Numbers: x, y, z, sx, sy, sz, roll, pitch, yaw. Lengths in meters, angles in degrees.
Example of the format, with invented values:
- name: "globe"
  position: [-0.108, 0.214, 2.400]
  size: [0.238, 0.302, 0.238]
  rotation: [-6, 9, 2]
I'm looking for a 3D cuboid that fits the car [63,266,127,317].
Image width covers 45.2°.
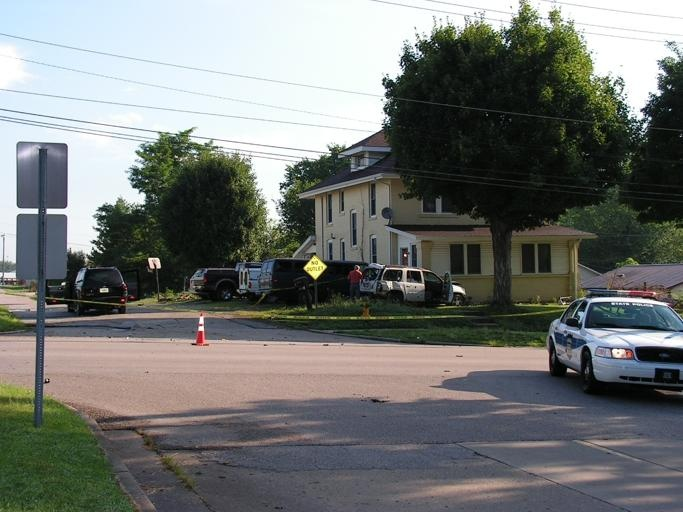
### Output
- name: "car"
  position: [-10.689, 1.450, 35.382]
  size: [1.665, 1.355, 3.509]
  rotation: [1, 0, -24]

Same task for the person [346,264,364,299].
- name: "person"
  position: [0.586, 1.212, 36.023]
  size: [0.497, 1.261, 1.209]
  rotation: [1, 2, 1]
